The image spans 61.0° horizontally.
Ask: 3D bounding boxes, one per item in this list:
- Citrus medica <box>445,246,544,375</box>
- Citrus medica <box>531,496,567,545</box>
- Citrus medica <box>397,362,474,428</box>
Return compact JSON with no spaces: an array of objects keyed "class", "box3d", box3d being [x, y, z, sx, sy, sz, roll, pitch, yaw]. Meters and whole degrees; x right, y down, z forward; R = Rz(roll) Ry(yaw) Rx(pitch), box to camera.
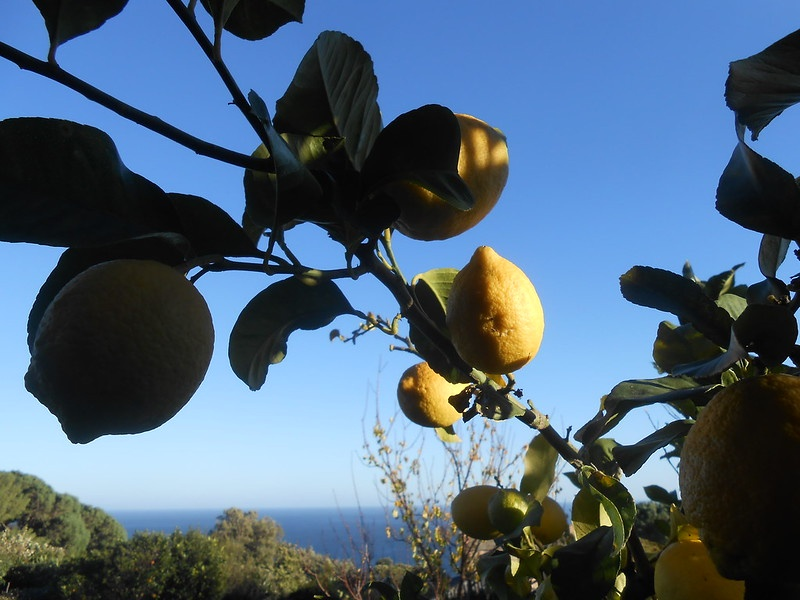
[{"class":"Citrus medica","box3d":[0.140,0.032,1.187,0.168,0.249,0.229,-2,-6,11]},{"class":"Citrus medica","box3d":[0.295,0.443,1.325,0.067,0.097,0.073,4,-15,-34]},{"class":"Citrus medica","box3d":[0.052,0.208,1.441,0.117,0.167,0.120,-12,15,-37]}]
